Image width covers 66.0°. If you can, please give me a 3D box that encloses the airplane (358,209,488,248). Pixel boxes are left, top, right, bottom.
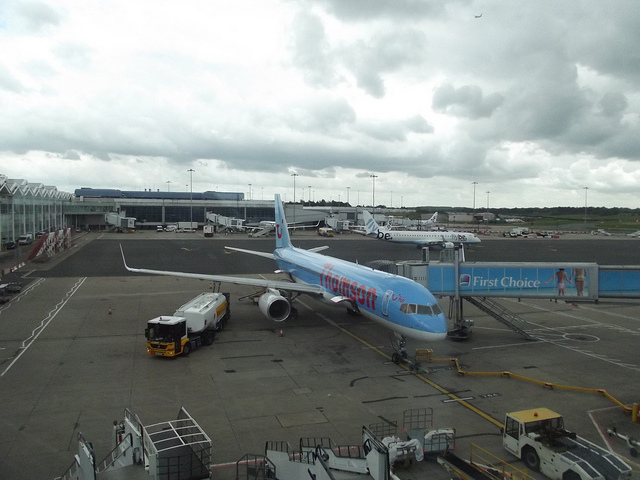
[{"bbox_3d":[22.135,0.274,105.325,29.802,7.479,19.377,-2,10,-9],"label":"airplane"}]

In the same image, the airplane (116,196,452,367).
[{"bbox_3d":[1.373,2.213,43.119,30.896,9.310,27.349,-1,7,-26],"label":"airplane"}]
